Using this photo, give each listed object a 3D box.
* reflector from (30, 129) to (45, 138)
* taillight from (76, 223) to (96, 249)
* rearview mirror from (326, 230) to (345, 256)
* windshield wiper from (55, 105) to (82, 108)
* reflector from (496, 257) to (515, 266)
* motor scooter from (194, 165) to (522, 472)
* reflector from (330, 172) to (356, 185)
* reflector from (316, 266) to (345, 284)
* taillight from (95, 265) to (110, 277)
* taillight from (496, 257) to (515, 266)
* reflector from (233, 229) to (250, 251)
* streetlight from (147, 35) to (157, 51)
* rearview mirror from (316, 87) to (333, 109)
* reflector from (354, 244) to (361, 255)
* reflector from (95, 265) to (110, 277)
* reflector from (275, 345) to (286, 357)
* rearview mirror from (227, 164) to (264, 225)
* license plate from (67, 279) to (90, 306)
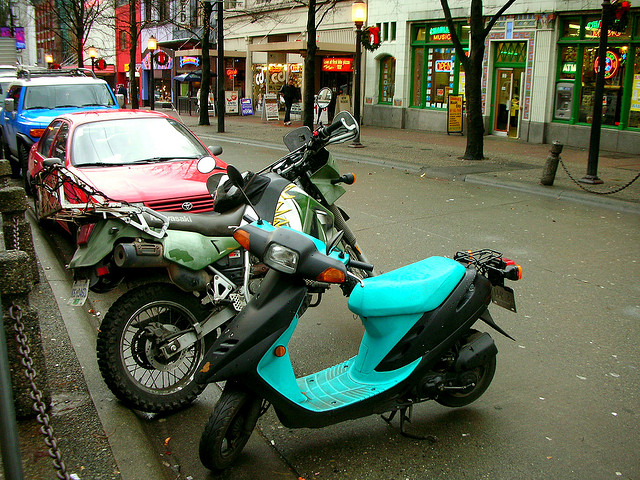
[{"bbox_3d":[-5.970,-2.272,12.146,0.380,0.171,0.121,7,14,30],"label":"reflector"},{"bbox_3d":[-2.084,-0.048,5.152,0.051,0.186,0.193,27,-22,-33],"label":"taillight"},{"bbox_3d":[0.118,0.013,3.846,0.039,0.170,0.101,24,39,-15],"label":"rearview mirror"},{"bbox_3d":[-6.052,-3.210,13.715,0.604,0.051,0.096,2,34,3],"label":"windshield wiper"},{"bbox_3d":[1.515,0.176,4.704,0.060,0.030,0.081,-4,15,-33],"label":"reflector"},{"bbox_3d":[0.287,0.701,4.259,2.427,1.751,0.630,-7,13,-28],"label":"motor scooter"},{"bbox_3d":[0.315,-0.674,6.214,0.263,0.114,0.115,-7,18,-42],"label":"reflector"},{"bbox_3d":[0.080,0.224,3.759,0.102,0.068,0.151,4,14,-9],"label":"reflector"},{"bbox_3d":[-1.841,0.250,4.878,0.090,0.097,0.085,-10,-12,-7],"label":"taillight"},{"bbox_3d":[1.621,0.177,5.080,0.126,0.045,0.080,9,10,-17],"label":"taillight"},{"bbox_3d":[-0.532,-0.016,3.893,0.049,0.129,0.155,-9,15,-36],"label":"reflector"},{"bbox_3d":[-9.204,-10.872,31.607,0.373,0.718,1.195,-5,13,-20],"label":"streetlight"},{"bbox_3d":[0.040,-1.539,6.236,0.159,0.224,0.211,-2,-5,-5],"label":"rearview mirror"},{"bbox_3d":[0.418,0.094,6.525,0.039,0.159,0.048,-23,9,23],"label":"reflector"},{"bbox_3d":[-1.851,0.253,4.883,0.119,0.101,0.037,1,12,3],"label":"reflector"},{"bbox_3d":[-0.278,0.750,3.951,0.076,0.088,0.008,-8,14,-33],"label":"reflector"},{"bbox_3d":[-0.638,-0.448,4.688,0.311,0.560,0.305,-10,20,-31],"label":"rearview mirror"},{"bbox_3d":[-2.043,0.427,4.907,0.164,0.211,0.259,-5,13,-22],"label":"license plate"}]
